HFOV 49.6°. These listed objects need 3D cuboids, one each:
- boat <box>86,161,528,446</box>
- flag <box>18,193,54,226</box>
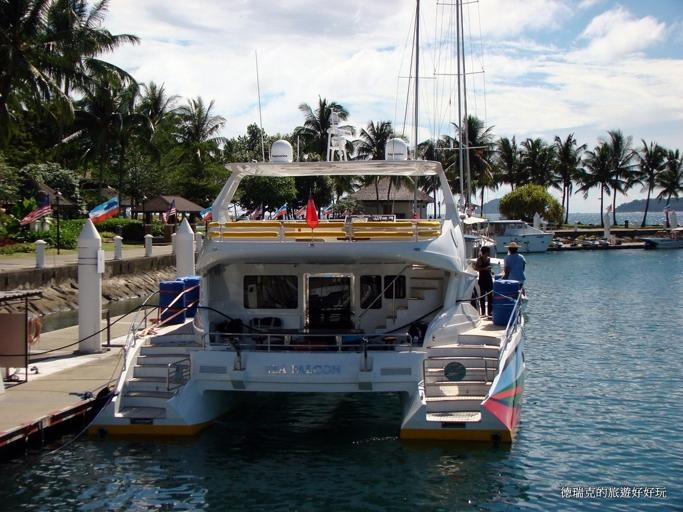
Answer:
[{"bbox_3d":[-0.280,0.992,17.784,9.206,6.411,4.029,2,14,3],"label":"boat"},{"bbox_3d":[-17.261,-2.631,41.511,2.413,1.575,0.265,-27,-23,23],"label":"flag"}]
